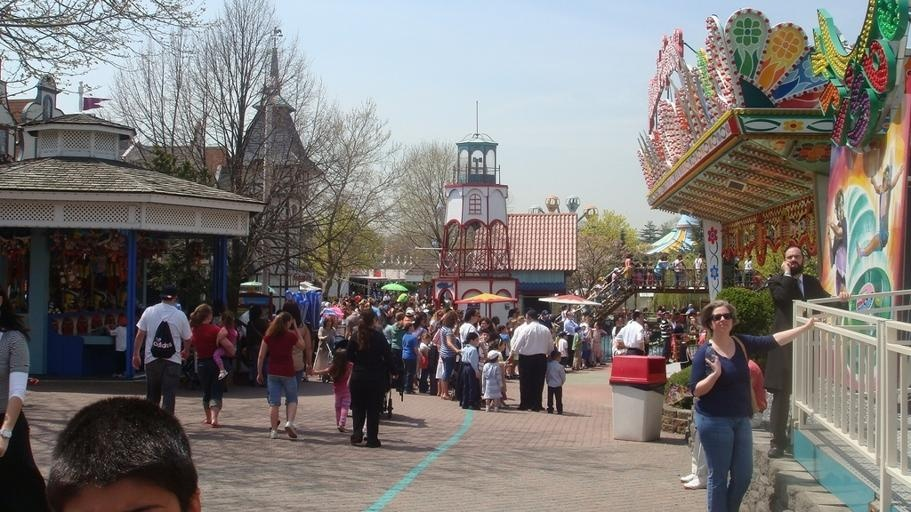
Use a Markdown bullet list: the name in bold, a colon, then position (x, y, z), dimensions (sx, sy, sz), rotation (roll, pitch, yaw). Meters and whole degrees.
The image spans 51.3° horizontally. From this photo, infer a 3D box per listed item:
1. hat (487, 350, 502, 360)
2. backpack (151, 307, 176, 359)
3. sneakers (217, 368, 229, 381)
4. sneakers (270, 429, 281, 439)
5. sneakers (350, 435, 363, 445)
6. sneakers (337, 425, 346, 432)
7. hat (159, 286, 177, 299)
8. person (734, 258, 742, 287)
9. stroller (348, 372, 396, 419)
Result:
- **hat**: position (0.891, 2.450, 23.565), dimensions (0.270, 0.192, 0.440), rotation (5, -8, 23)
- **backpack**: position (-5.596, 1.551, 18.227), dimensions (0.350, 0.822, 0.296), rotation (5, 5, 27)
- **sneakers**: position (-4.813, 2.441, 19.786), dimensions (0.118, 0.127, 0.299), rotation (-27, -2, 11)
- **sneakers**: position (-3.593, 3.549, 18.945), dimensions (0.140, 0.146, 0.347), rotation (1, -12, -6)
- **sneakers**: position (-1.972, 3.637, 18.794), dimensions (0.144, 0.248, 0.258), rotation (7, -1, -36)
- **sneakers**: position (-2.357, 3.599, 19.852), dimensions (0.205, 0.105, 0.248), rotation (2, 4, -10)
- **hat**: position (-5.533, 0.686, 18.352), dimensions (0.253, 0.235, 0.185), rotation (2, 4, -20)
- **person**: position (8.729, 0.457, 29.228), dimensions (0.220, 0.834, 1.899), rotation (4, 4, 17)
- **stroller**: position (-1.844, 3.045, 20.831), dimensions (0.953, 1.272, 1.501), rotation (0, -14, 4)
